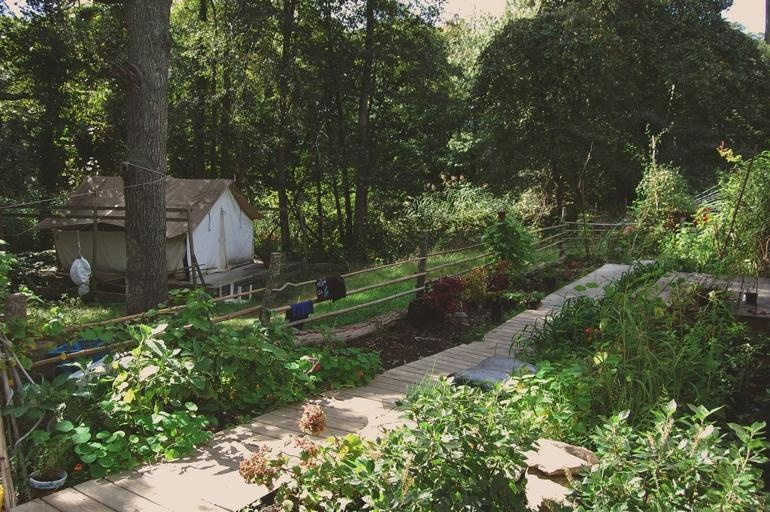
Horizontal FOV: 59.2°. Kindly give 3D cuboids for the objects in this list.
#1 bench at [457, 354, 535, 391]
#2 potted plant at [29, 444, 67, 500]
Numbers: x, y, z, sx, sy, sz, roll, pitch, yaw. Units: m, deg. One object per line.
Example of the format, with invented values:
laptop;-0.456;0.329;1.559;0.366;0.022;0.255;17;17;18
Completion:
bench;1.457;1.642;9.579;0.603;0.124;0.648;-10;5;-38
potted plant;-4.111;2.512;8.287;0.423;0.657;0.435;-25;-23;29
